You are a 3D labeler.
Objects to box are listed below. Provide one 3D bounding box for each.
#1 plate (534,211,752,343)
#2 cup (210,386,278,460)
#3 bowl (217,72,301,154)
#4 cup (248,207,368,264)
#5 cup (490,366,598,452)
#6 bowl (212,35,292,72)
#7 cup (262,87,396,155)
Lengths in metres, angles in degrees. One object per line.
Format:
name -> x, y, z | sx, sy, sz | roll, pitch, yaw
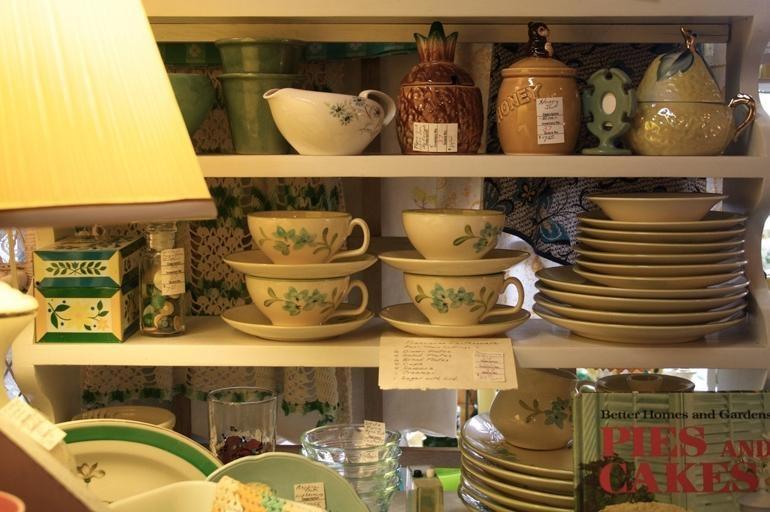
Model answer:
plate -> 0.544, 0.048, 1.353 | 0.454, 0.268, 0.216 | -1, 17, 13
cup -> -0.312, 0.373, 1.471 | 0.138, 0.146, 0.151 | 1, 1, 0
bowl -> -0.277, -0.318, 1.428 | 0.212, 0.187, 0.212 | -1, 14, 0
cup -> -0.162, -0.033, 1.367 | 0.240, 0.137, 0.146 | -8, 17, -11
cup -> 0.344, 0.331, 1.398 | 0.193, 0.133, 0.149 | 6, -9, -30
bowl -> -0.285, -0.436, 1.418 | 0.207, 0.077, 0.211 | -1, 16, 0
cup -> -0.108, -0.278, 1.328 | 0.266, 0.140, 0.104 | -5, 17, -2
